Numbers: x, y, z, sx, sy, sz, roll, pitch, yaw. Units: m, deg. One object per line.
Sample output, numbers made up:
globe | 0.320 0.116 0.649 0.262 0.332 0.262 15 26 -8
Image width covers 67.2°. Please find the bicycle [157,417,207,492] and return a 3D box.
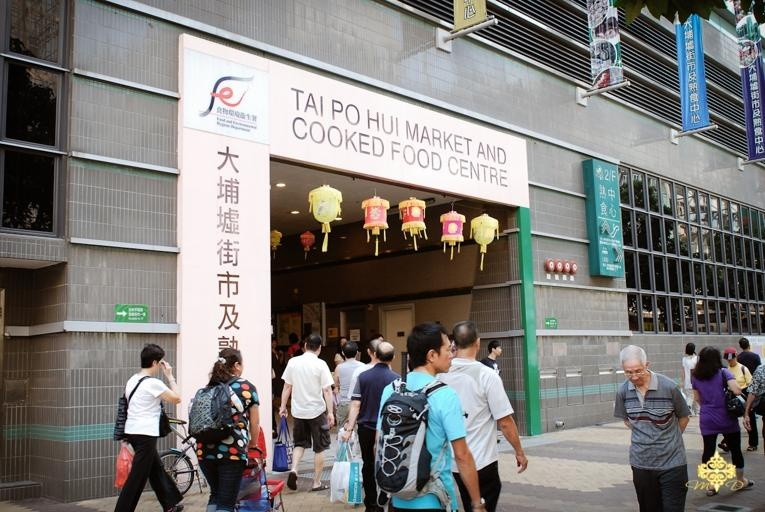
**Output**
bicycle | -3.013 2.995 8.495 0.538 0.734 1.124 -19 -17 -16

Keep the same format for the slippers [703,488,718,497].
slippers | 4.645 3.343 8.094 0.185 0.096 0.152 -5 -11 14

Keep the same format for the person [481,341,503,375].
person | 2.131 1.997 11.203 0.334 0.752 0.709 5 11 27

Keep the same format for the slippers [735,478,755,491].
slippers | 5.257 3.344 8.346 0.318 0.111 0.135 -8 -15 16

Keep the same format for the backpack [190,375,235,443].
backpack | -1.771 1.636 5.949 0.433 0.604 0.338 -14 -24 24

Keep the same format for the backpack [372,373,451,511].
backpack | 0.225 1.537 4.575 0.567 1.025 0.240 -2 -10 0

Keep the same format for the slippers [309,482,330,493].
slippers | -0.931 3.463 8.574 0.274 0.114 0.102 4 -5 -44

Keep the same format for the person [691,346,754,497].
person | 4.948 2.394 8.448 0.613 2.065 0.786 -7 -11 28

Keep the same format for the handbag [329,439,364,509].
handbag | -0.481 2.882 7.574 0.396 0.879 0.639 -1 -10 -4

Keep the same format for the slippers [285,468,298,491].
slippers | -1.334 3.284 8.384 0.133 0.312 0.120 2 9 17

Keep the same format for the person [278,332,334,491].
person | -1.154 2.368 8.717 0.783 2.297 0.662 -1 -10 -6

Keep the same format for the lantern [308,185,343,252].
lantern | -1.053 -0.694 10.492 0.671 1.203 0.727 -1 -2 4
